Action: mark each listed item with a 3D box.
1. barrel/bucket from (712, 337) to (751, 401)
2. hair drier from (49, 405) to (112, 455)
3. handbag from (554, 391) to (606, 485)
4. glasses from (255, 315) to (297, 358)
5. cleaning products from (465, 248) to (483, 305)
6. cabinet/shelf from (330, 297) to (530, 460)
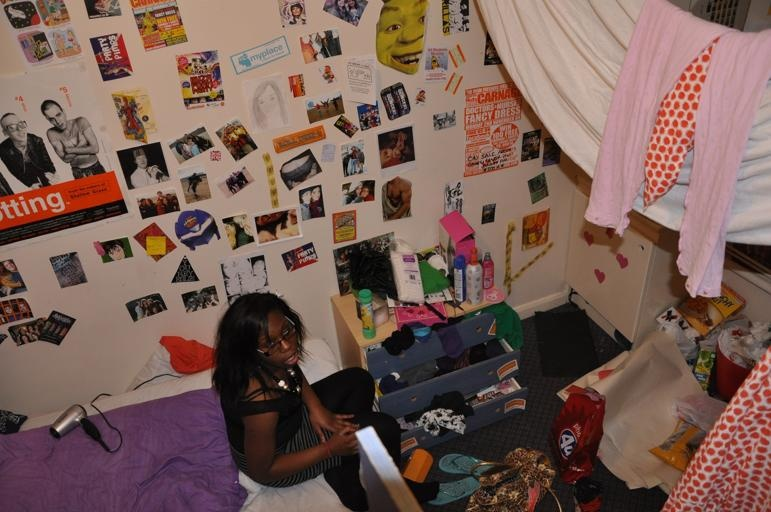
[{"bbox_3d":[1.923,0.658,2.785,0.100,0.293,0.248,-13,27,-10],"label":"barrel/bucket"},{"bbox_3d":[-1.358,0.786,2.231,0.296,0.140,0.143,3,29,20],"label":"hair drier"},{"bbox_3d":[1.037,0.981,2.628,0.140,0.370,0.320,10,33,8],"label":"handbag"},{"bbox_3d":[-0.458,0.335,2.068,0.156,0.053,0.155,7,41,32],"label":"glasses"},{"bbox_3d":[0.514,0.110,2.809,0.084,0.318,0.138,14,34,37],"label":"cleaning products"},{"bbox_3d":[0.262,0.599,3.022,1.061,0.912,0.812,-18,31,-17],"label":"cabinet/shelf"}]
